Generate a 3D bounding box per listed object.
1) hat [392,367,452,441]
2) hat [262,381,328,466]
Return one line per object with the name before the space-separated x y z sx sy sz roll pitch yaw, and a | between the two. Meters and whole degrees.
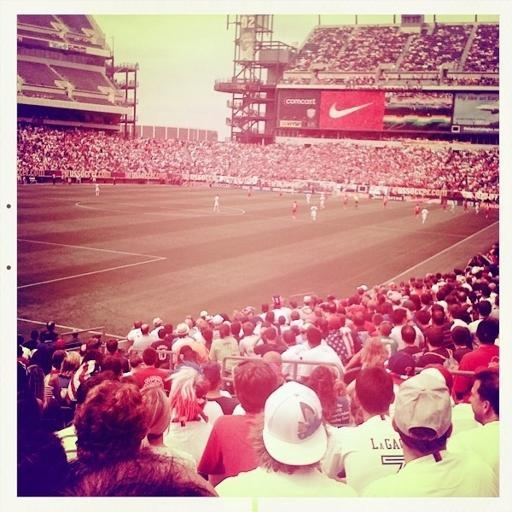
hat | 1.280 1.052 3.621 0.299 0.266 0.513 0 30 18
hat | 0.304 1.313 3.725 0.492 0.507 0.299 3 13 6
